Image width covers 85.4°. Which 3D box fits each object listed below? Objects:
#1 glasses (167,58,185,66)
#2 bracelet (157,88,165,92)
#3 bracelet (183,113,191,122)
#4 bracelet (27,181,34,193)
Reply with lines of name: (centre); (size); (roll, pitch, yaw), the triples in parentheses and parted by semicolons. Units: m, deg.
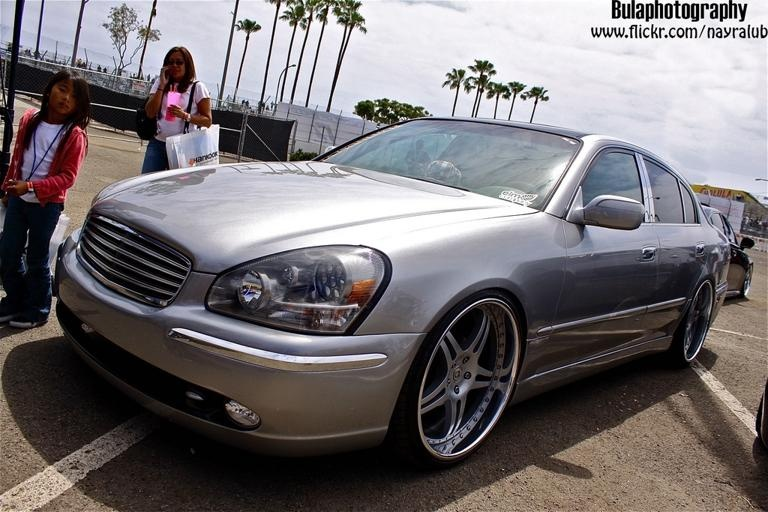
glasses: (-1.932, -1.797, 3.886); (0.127, 0.061, 0.032); (9, 15, -2)
bracelet: (-2.071, -1.541, 3.873); (0.048, 0.042, 0.011); (-2, 1, -4)
bracelet: (-1.836, -1.291, 3.903); (0.058, 0.039, 0.071); (-4, -6, -1)
bracelet: (-2.331, -0.448, 2.754); (0.037, 0.085, 0.086); (-3, 19, -40)
